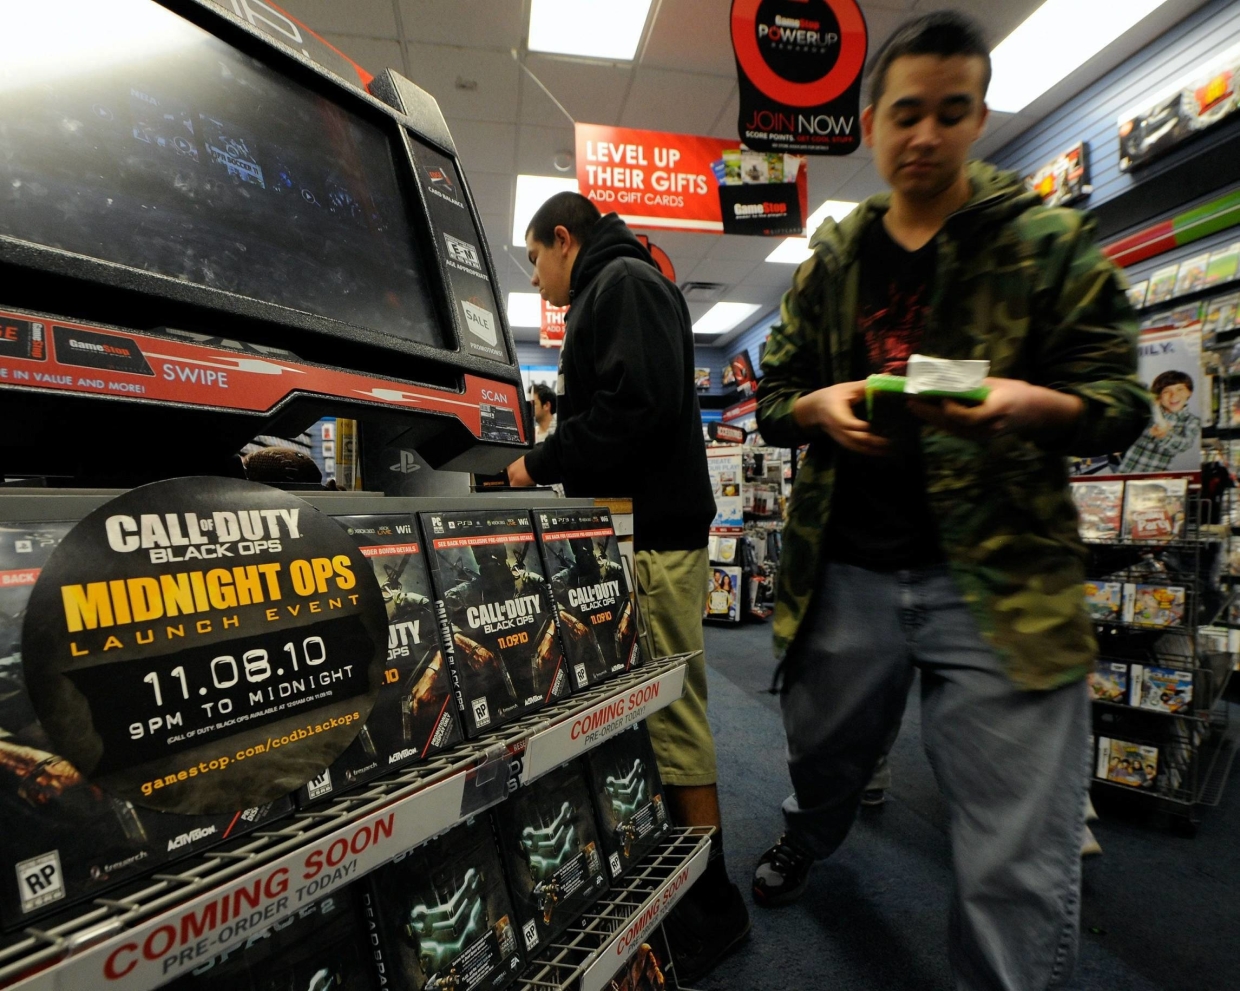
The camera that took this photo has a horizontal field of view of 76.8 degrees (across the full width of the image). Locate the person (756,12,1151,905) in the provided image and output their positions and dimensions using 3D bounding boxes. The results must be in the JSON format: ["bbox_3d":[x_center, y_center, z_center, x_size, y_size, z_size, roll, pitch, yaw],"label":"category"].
[{"bbox_3d":[0.576,0.011,1.619,0.468,1.817,0.764,0,2,-24],"label":"person"}]

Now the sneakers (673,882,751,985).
[{"bbox_3d":[0.195,0.912,1.712,0.094,0.201,0.287,-10,-13,31],"label":"sneakers"}]
